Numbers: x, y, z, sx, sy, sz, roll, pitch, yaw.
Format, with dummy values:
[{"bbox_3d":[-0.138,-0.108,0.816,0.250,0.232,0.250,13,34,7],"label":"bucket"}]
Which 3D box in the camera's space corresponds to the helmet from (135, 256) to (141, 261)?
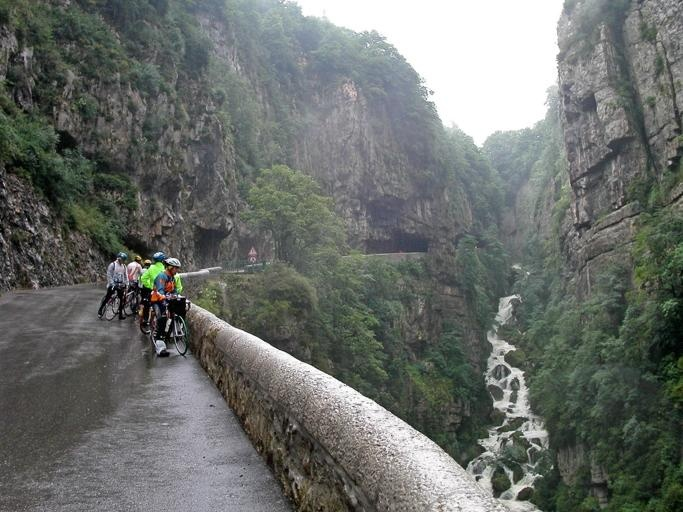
[{"bbox_3d":[-7.882,0.087,23.019,0.183,0.152,0.140,-18,39,-17],"label":"helmet"}]
